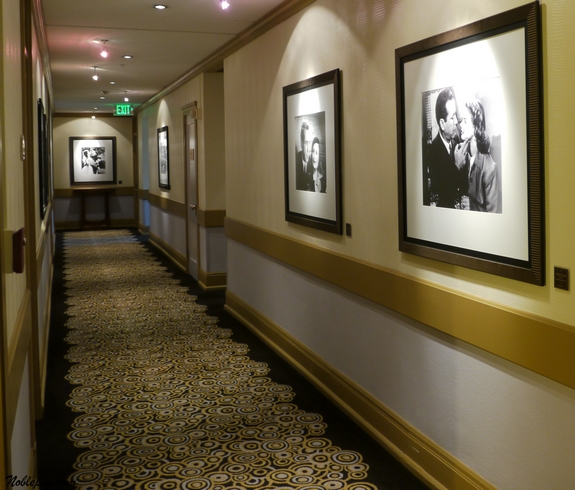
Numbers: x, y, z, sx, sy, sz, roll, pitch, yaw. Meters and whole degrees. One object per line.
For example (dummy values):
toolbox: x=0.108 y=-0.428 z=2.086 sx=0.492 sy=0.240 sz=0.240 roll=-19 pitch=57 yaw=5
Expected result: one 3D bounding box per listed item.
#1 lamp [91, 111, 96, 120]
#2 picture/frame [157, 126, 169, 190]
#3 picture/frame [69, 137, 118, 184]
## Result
lamp: x=-7.106 y=-4.770 z=14.731 sx=0.108 sy=0.137 sz=0.253 roll=6 pitch=-9 yaw=-7
picture/frame: x=-3.235 y=-2.281 z=10.439 sx=0.047 sy=1.541 sz=1.281 roll=-3 pitch=11 yaw=-28
picture/frame: x=-7.288 y=-3.203 z=14.930 sx=1.414 sy=1.909 sz=0.073 roll=-1 pitch=12 yaw=-4
